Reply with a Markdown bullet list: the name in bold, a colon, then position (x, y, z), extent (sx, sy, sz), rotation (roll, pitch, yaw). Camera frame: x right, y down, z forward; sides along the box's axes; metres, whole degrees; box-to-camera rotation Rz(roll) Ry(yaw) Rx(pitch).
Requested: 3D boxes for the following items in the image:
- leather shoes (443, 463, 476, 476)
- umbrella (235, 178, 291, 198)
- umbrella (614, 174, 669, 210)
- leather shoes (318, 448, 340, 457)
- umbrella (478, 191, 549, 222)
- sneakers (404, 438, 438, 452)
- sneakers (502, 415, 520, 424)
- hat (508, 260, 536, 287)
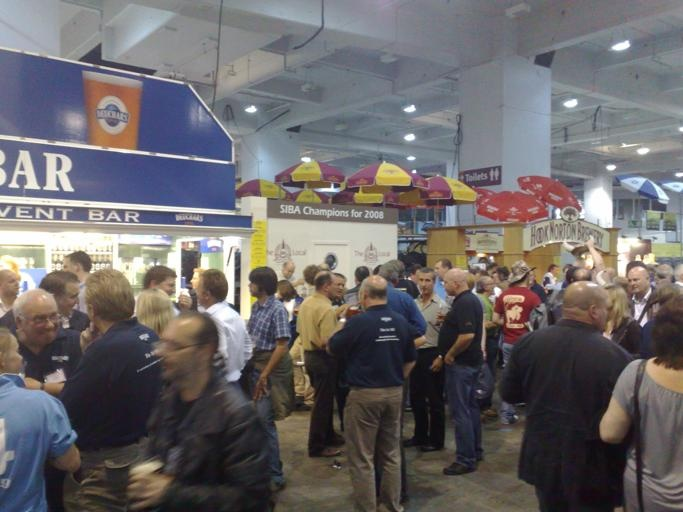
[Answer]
- **leather shoes**: position (1.109, 1.995, 5.872), extent (0.289, 0.099, 0.112), rotation (4, -7, -10)
- **umbrella**: position (-1.839, -1.593, 15.049), extent (1.254, 0.439, 1.228), rotation (0, 1, -33)
- **umbrella**: position (12.068, -2.571, 24.929), extent (1.548, 0.552, 1.508), rotation (17, 8, -46)
- **leather shoes**: position (-0.115, 1.976, 6.314), extent (0.220, 0.085, 0.076), rotation (-4, -2, 11)
- **umbrella**: position (2.937, -0.834, 10.721), extent (1.158, 0.545, 0.882), rotation (0, 0, 14)
- **sneakers**: position (0.812, 1.964, 6.492), extent (0.342, 0.144, 0.118), rotation (-24, -18, 39)
- **sneakers**: position (1.976, 1.892, 7.301), extent (0.217, 0.090, 0.079), rotation (0, -1, -30)
- **hat**: position (2.350, 0.230, 8.164), extent (0.139, 0.251, 0.246), rotation (43, -22, -6)
